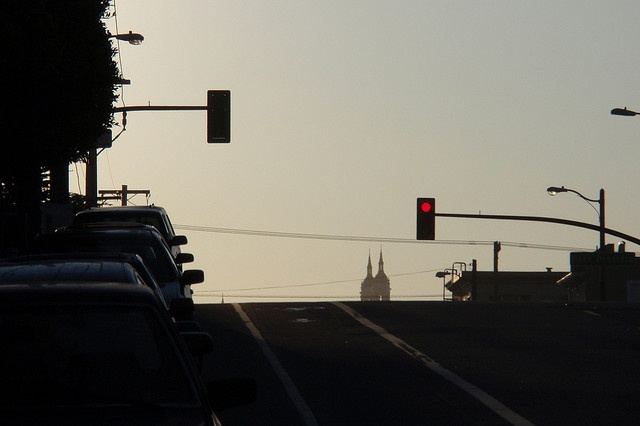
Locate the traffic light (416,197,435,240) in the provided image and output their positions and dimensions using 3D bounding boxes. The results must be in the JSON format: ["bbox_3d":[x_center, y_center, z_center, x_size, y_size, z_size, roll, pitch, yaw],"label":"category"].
[{"bbox_3d":[4.208,0.267,38.126,0.676,1.629,0.731,0,1,0],"label":"traffic light"}]

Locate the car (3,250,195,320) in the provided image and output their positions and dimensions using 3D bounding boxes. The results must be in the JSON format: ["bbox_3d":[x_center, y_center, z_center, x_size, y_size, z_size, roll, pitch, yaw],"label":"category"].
[{"bbox_3d":[-2.530,0.815,10.619,1.303,1.038,2.241,0,-9,-2],"label":"car"}]

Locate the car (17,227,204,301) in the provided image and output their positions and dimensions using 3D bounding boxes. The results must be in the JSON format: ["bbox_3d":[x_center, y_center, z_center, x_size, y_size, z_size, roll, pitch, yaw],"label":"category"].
[{"bbox_3d":[-3.121,0.625,16.187,1.778,1.483,2.969,-1,-9,-1],"label":"car"}]
